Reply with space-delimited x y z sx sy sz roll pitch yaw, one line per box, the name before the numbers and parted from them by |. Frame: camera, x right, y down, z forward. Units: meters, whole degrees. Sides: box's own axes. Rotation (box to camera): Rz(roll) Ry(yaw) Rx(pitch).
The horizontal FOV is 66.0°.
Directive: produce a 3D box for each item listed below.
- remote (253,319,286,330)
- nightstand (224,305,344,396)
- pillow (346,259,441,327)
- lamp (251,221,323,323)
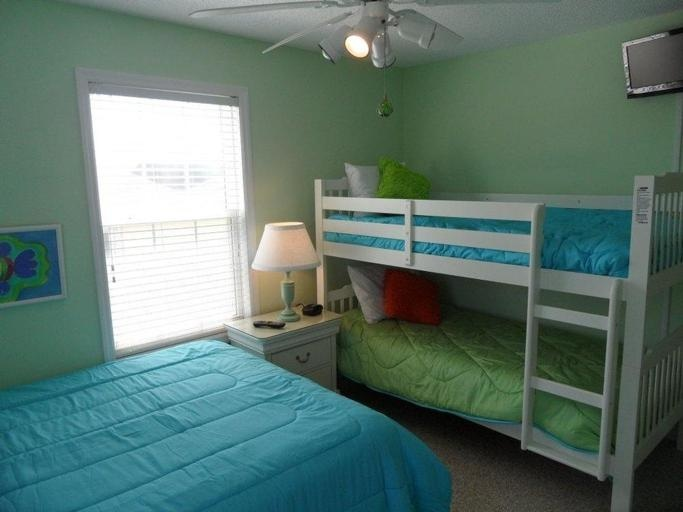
remote | -0.513 0.492 3.743 0.161 0.032 0.087 0 4 17
nightstand | -0.442 0.598 3.981 0.611 0.735 0.798 12 17 42
pillow | 0.450 0.243 4.261 0.560 0.521 0.164 5 12 12
lamp | -0.373 0.076 4.029 0.685 0.836 0.663 -2 15 -1
